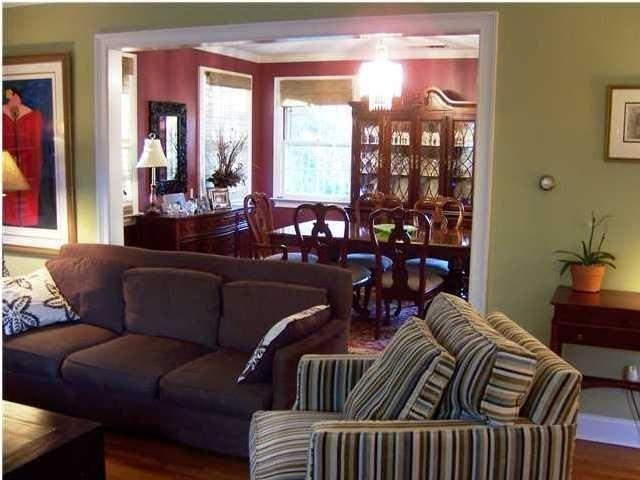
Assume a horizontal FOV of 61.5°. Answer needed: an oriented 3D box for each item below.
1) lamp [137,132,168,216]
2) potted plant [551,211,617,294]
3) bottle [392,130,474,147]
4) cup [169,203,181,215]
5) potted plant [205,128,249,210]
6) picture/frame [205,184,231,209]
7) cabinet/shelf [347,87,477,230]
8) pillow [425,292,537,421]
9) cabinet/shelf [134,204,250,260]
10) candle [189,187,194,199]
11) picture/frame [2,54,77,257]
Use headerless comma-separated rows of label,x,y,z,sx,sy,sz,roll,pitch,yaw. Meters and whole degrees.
lamp,-1.729,-0.690,5.499,0.287,0.809,0.558,-2,8,-18
potted plant,1.573,0.073,3.175,0.337,0.459,0.187,4,8,26
bottle,1.258,-1.129,6.083,0.912,0.169,0.075,4,8,22
cup,-1.507,-0.311,5.585,0.092,0.092,0.114,3,0,-2
potted plant,-1.152,-0.792,6.425,0.393,0.774,0.385,8,3,24
picture/frame,-1.189,-0.490,6.209,0.290,0.305,0.110,-5,-2,-43
cabinet/shelf,1.063,-0.898,6.271,1.585,1.669,0.457,0,4,-11
pillow,0.639,0.515,2.201,0.348,0.374,0.604,0,7,-3
cabinet/shelf,-1.272,0.031,6.114,0.432,0.706,1.331,4,11,27
candle,-1.501,-0.537,6.257,0.052,0.116,0.207,-1,7,-14
picture/frame,-2.481,-0.723,4.640,0.858,1.728,0.143,4,8,23
